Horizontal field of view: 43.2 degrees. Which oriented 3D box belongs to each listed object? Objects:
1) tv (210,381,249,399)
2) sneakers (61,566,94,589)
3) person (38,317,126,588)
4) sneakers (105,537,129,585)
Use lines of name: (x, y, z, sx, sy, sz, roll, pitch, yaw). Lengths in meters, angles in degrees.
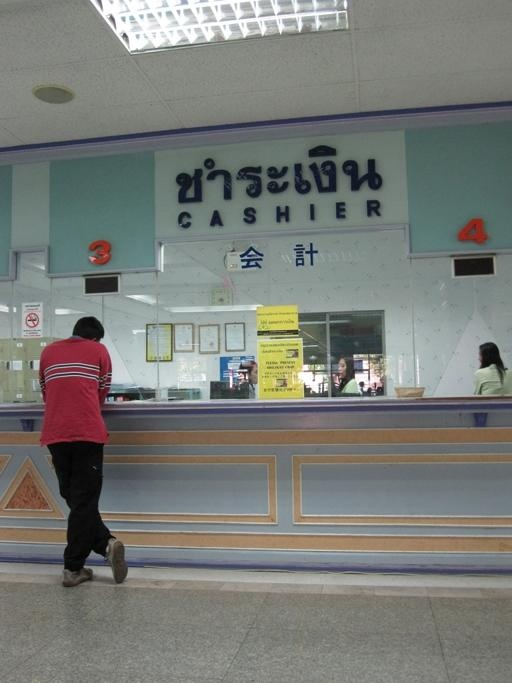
tv: (-0.203, 0.356, 4.806, 0.317, 0.125, 0.142, -1, -4, 8)
sneakers: (-0.942, 1.249, 3.431, 0.067, 0.060, 0.166, -2, -1, 22)
person: (-0.937, 0.570, 3.514, 0.455, 1.446, 0.323, 0, -5, -16)
sneakers: (-0.729, 1.154, 3.458, 0.114, 0.238, 0.098, -3, 13, 44)
